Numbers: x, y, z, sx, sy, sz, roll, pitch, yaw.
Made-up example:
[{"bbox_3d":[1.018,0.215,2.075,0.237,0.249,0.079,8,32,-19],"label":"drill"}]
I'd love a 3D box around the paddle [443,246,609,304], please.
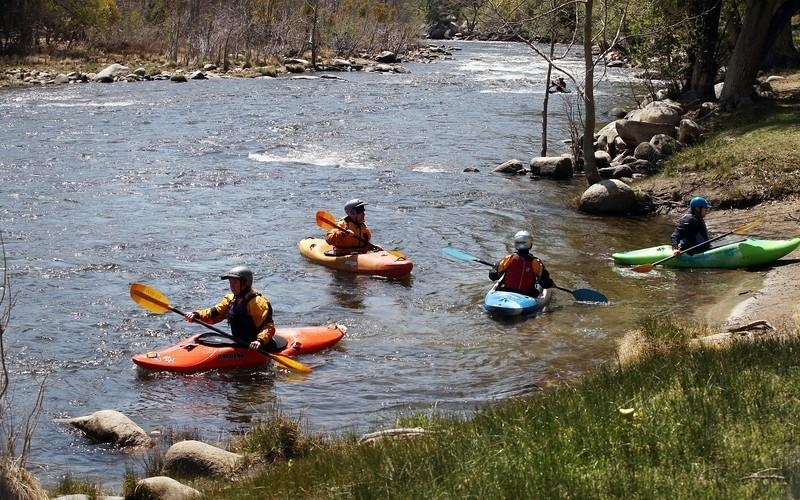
[{"bbox_3d":[3.719,0.824,34.732,6.605,0.585,0.246,12,-29,9],"label":"paddle"}]

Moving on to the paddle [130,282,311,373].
[{"bbox_3d":[-5.071,2.245,32.221,7.132,0.608,0.304,18,13,14],"label":"paddle"}]

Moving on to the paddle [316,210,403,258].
[{"bbox_3d":[-1.346,-0.449,36.560,3.642,0.622,0.219,21,-26,-5],"label":"paddle"}]

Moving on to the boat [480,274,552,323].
[{"bbox_3d":[3.403,1.635,33.814,1.648,0.918,1.634,0,-1,12],"label":"boat"}]
